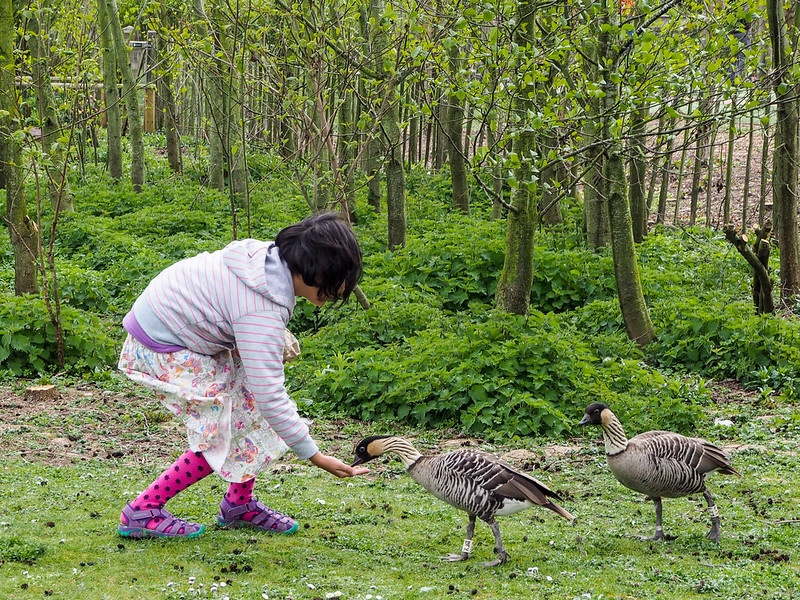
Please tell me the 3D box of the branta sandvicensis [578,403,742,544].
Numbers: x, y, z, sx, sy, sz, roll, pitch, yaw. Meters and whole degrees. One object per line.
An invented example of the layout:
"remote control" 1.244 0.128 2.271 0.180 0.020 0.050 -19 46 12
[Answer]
"branta sandvicensis" 2.358 1.554 8.715 1.651 1.200 0.571 2 -7 -27

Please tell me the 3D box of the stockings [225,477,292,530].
"stockings" -1.173 1.808 8.561 0.752 0.481 0.310 3 4 -9

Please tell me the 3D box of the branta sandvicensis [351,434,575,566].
"branta sandvicensis" 0.512 1.726 8.282 1.826 1.054 0.540 1 -6 0

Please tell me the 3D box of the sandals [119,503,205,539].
"sandals" -2.037 1.882 8.233 0.724 0.270 0.254 1 -2 -7

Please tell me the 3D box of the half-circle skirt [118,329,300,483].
"half-circle skirt" -1.544 0.883 7.914 1.408 1.288 0.569 -27 -12 -8

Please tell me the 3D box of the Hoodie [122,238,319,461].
"Hoodie" -1.322 0.160 7.972 1.763 1.369 1.607 23 14 -19
